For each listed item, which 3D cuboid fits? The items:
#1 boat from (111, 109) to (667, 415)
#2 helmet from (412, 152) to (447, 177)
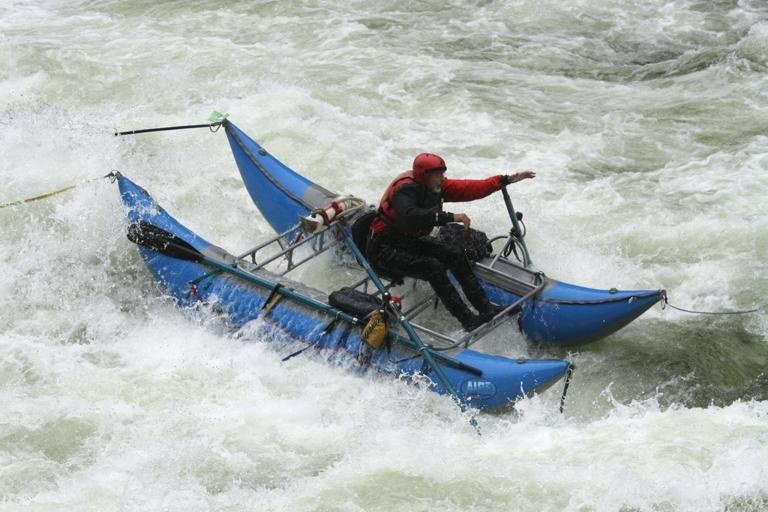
[{"bbox_3d":[-0.426,0.308,12.929,5.897,1.493,3.433,17,34,18],"label":"boat"},{"bbox_3d":[0.523,-1.097,12.658,0.351,0.268,0.238,14,37,10],"label":"helmet"}]
